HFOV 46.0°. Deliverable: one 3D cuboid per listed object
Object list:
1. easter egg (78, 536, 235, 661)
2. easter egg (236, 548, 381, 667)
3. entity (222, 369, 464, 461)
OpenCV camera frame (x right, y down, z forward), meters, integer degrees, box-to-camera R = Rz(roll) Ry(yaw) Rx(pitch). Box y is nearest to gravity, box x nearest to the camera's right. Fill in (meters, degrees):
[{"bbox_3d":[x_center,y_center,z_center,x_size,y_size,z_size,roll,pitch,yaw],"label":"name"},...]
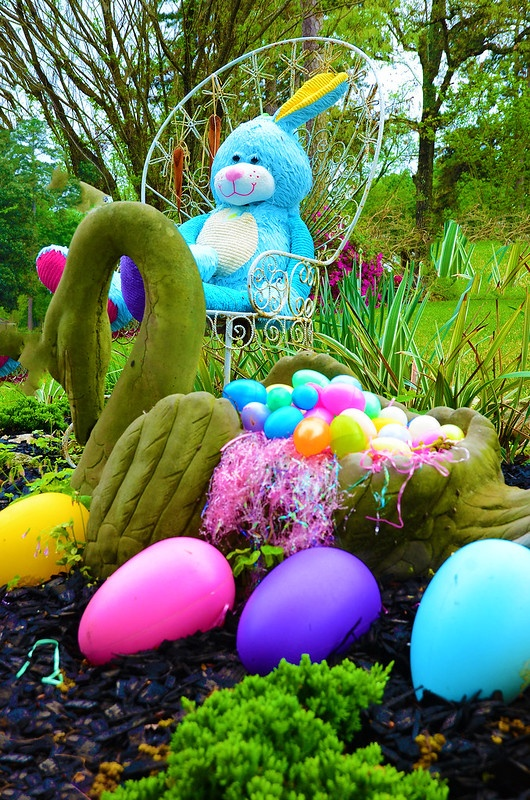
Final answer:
[{"bbox_3d":[-0.207,0.384,1.264,0.285,0.175,0.177,-31,-7,-19],"label":"easter egg"},{"bbox_3d":[0.057,0.371,1.166,0.235,0.183,0.168,-35,2,-21],"label":"easter egg"},{"bbox_3d":[0.144,0.026,1.407,0.421,0.252,0.118,11,56,14],"label":"entity"}]
